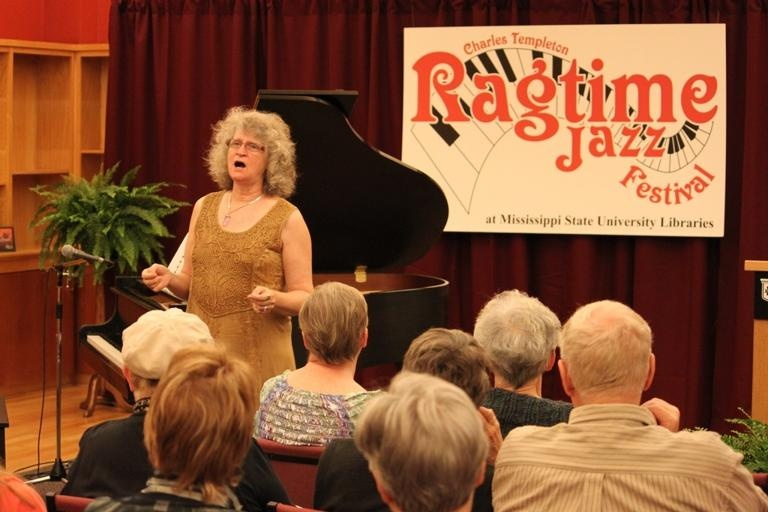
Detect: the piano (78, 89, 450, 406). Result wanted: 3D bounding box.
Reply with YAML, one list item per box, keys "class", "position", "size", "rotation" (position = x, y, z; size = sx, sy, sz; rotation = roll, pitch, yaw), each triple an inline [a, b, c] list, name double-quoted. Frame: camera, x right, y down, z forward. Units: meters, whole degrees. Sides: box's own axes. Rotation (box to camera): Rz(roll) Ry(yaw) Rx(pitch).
- class: "piano"
  position: [-0.754, -0.113, 5.716]
  size: [2.764, 2.597, 1.625]
  rotation: [0, 1, -20]

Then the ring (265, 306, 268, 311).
- class: "ring"
  position: [-0.549, 0.242, 3.459]
  size: [0.013, 0.019, 0.005]
  rotation: [-5, 15, -24]

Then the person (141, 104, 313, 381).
- class: "person"
  position: [-0.706, -0.065, 3.751]
  size: [0.729, 1.209, 0.448]
  rotation: [5, 1, 20]

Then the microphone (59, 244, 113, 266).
- class: "microphone"
  position: [-2.121, -0.017, 5.300]
  size: [0.329, 0.093, 0.092]
  rotation: [15, 13, 20]
